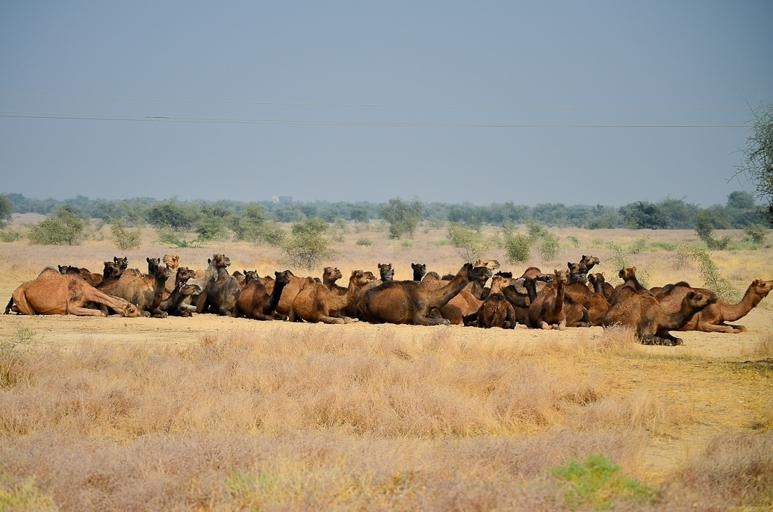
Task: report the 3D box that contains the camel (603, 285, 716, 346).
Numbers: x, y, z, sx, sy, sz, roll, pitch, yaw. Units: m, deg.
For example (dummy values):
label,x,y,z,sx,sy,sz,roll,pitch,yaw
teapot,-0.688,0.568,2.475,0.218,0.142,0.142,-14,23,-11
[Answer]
label,x,y,z,sx,sy,sz,roll,pitch,yaw
camel,6.733,1.548,20.524,2.845,1.365,0.862,2,5,5
